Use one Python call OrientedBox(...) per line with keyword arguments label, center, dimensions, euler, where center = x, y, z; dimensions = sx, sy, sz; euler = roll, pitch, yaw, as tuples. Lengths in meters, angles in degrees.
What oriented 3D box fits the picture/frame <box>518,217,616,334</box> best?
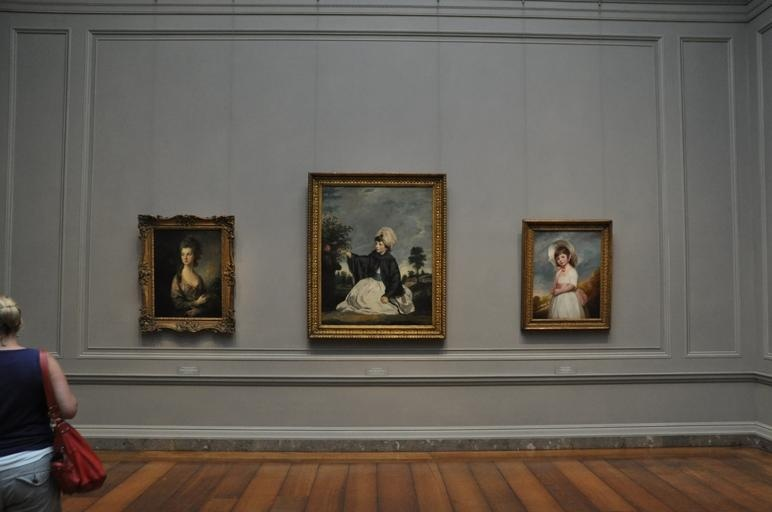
OrientedBox(label="picture/frame", center=(3.087, 0.354, 13.814), dimensions=(1.830, 2.320, 0.109), euler=(0, -1, 0))
